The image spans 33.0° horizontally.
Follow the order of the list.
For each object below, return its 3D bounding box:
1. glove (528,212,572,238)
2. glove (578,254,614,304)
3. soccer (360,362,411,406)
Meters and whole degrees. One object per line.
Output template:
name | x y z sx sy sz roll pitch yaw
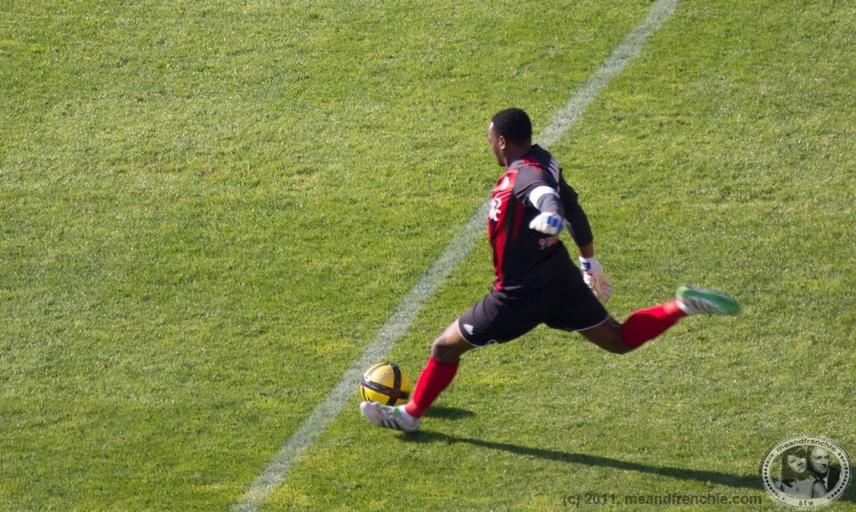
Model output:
glove | 1.585 -0.414 19.522 0.410 0.156 0.324 10 5 44
glove | 2.448 0.310 21.246 0.460 0.608 0.268 -5 22 8
soccer | -0.625 1.917 21.262 0.747 0.574 0.654 -1 16 2
